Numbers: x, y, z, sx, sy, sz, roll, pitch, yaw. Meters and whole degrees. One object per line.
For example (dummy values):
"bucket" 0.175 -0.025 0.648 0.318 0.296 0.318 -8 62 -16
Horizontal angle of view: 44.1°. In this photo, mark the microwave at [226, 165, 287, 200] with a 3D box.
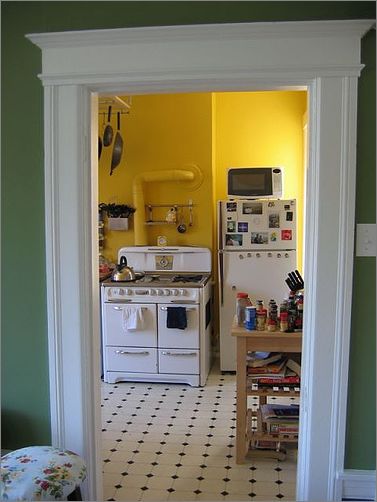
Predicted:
"microwave" 0.659 -0.644 4.365 0.490 0.324 0.289 0 1 6

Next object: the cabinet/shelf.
"cabinet/shelf" 0.484 0.868 2.861 0.420 0.855 0.419 -1 5 13

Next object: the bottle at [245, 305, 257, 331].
"bottle" 0.379 0.399 2.756 0.073 0.139 0.070 -2 4 0

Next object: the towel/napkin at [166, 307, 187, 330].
"towel/napkin" -0.106 0.581 4.006 0.174 0.181 0.054 2 -2 9

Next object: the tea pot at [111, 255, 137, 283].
"tea pot" -0.581 0.167 4.297 0.156 0.222 0.252 2 6 5

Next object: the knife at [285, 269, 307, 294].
"knife" 0.710 0.198 3.034 0.115 0.154 0.042 -28 -27 29

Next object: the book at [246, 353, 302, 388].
"book" 0.514 0.725 2.802 0.206 0.070 0.207 0 7 -2

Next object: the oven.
"oven" -0.293 0.691 4.396 0.960 0.959 0.737 1 10 12

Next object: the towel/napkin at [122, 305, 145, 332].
"towel/napkin" -0.479 0.585 4.076 0.225 0.258 0.099 0 3 16

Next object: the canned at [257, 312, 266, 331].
"canned" 0.433 0.412 2.763 0.052 0.114 0.094 -1 4 6

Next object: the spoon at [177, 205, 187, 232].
"spoon" -0.069 -0.319 4.701 0.094 0.293 0.045 -1 4 1
